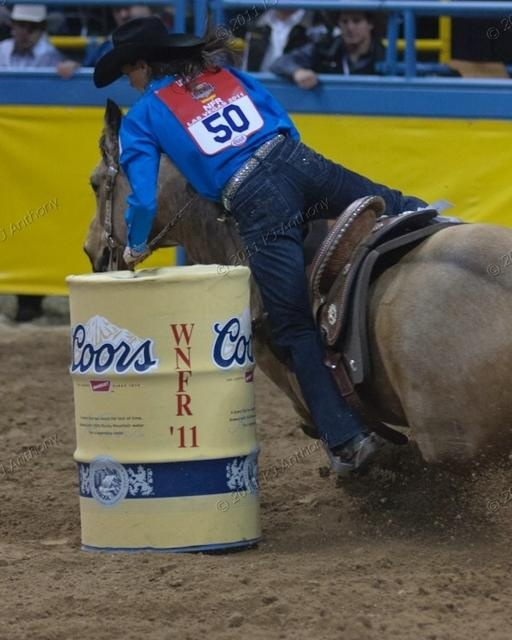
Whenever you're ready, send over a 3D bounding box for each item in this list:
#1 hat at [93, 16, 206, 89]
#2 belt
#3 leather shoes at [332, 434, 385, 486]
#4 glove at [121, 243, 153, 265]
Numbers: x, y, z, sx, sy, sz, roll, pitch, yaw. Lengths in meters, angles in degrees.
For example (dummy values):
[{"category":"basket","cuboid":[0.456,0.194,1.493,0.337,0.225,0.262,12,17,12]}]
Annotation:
[{"category":"hat","cuboid":[-0.463,-1.065,4.854,0.385,0.132,0.278,-25,-4,8]},{"category":"belt","cuboid":[-0.021,-0.591,4.580,0.288,0.071,0.235,-45,-8,29]},{"category":"leather shoes","cuboid":[0.352,0.511,4.385,0.131,0.129,0.305,-25,-12,-27]},{"category":"glove","cuboid":[-0.475,-0.266,4.796,0.077,0.071,0.105,-4,-13,43]}]
